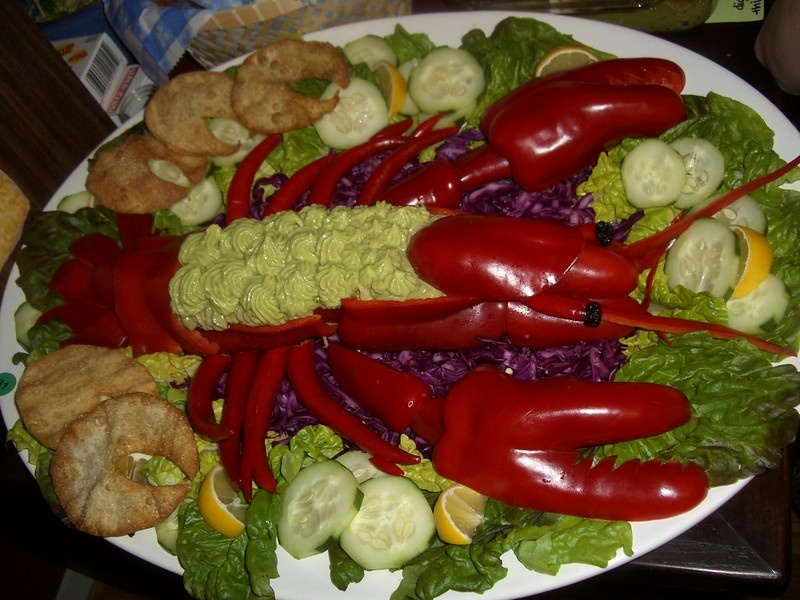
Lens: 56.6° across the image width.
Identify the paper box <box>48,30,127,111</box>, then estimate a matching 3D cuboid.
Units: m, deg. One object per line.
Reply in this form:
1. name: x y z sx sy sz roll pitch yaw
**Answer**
1. paper box: -2.285 -1.659 5.384 0.129 0.528 0.567 2 42 43
